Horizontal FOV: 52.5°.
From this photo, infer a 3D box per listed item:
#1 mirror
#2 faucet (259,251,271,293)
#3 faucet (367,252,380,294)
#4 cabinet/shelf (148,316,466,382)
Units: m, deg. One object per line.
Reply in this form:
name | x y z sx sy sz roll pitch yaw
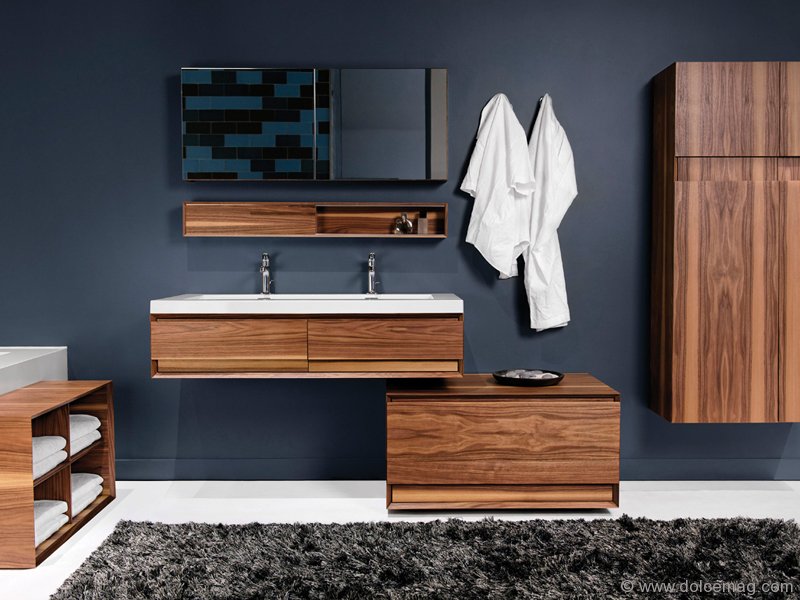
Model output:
mirror | -0.502 -1.032 4.742 1.554 0.702 0.119 -3 11 1
faucet | -0.801 -0.157 4.828 0.070 0.244 0.120 -5 11 -9
faucet | -0.172 -0.161 4.854 0.070 0.246 0.089 -4 11 -3
cabinet/shelf | -0.512 0.245 4.429 1.688 0.404 0.100 -3 11 1
